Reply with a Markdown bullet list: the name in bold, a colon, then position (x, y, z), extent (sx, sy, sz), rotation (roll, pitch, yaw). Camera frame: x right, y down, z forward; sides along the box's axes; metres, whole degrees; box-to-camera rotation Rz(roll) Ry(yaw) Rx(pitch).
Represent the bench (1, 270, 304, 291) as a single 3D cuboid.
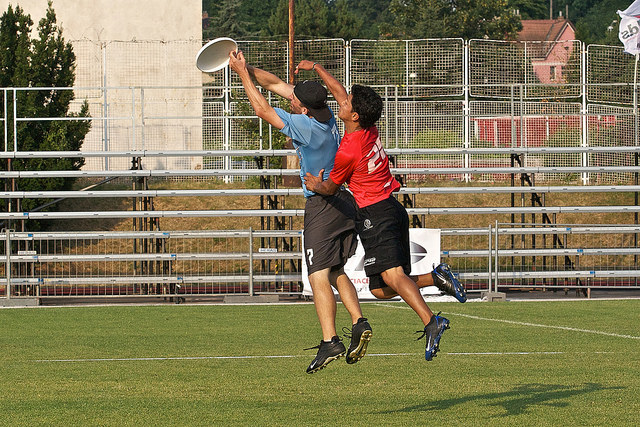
- **bench**: position (-5.249, 2.149, 47.262), extent (9.407, 0.679, 0.607), rotation (1, 4, -10)
